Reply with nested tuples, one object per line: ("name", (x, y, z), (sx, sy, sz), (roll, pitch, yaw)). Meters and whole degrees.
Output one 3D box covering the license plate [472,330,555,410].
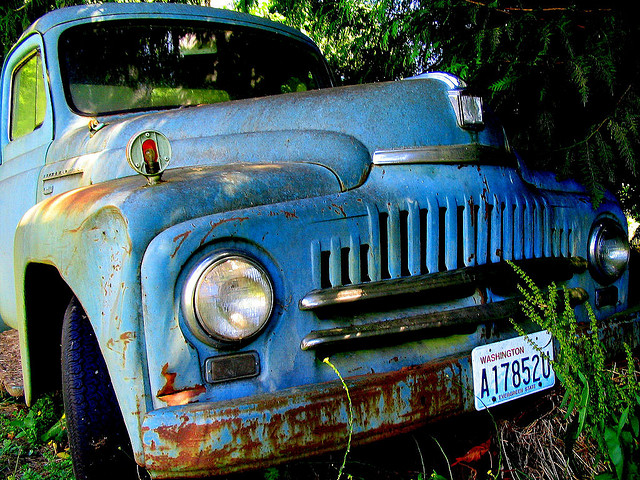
("license plate", (0.875, 0.586, 2.710), (0.023, 0.281, 0.394), (29, -39, -32))
